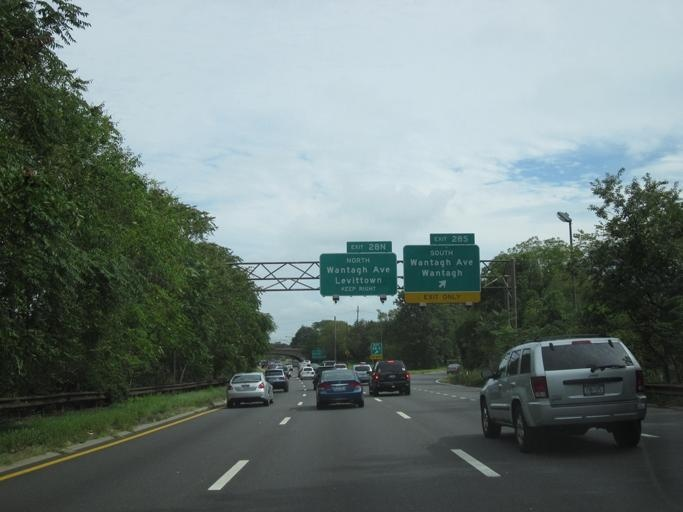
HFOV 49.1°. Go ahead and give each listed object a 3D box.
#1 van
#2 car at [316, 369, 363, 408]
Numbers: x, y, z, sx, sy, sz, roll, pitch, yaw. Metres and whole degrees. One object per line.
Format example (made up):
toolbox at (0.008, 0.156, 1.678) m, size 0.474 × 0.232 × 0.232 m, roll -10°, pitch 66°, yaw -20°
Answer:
van at (5.044, 3.130, 17.041) m, size 3.430 × 2.509 × 2.036 m, roll -5°, pitch -7°, yaw 24°
car at (-0.178, 5.786, 31.433) m, size 1.748 × 1.765 × 4.559 m, roll -1°, pitch -13°, yaw -2°
